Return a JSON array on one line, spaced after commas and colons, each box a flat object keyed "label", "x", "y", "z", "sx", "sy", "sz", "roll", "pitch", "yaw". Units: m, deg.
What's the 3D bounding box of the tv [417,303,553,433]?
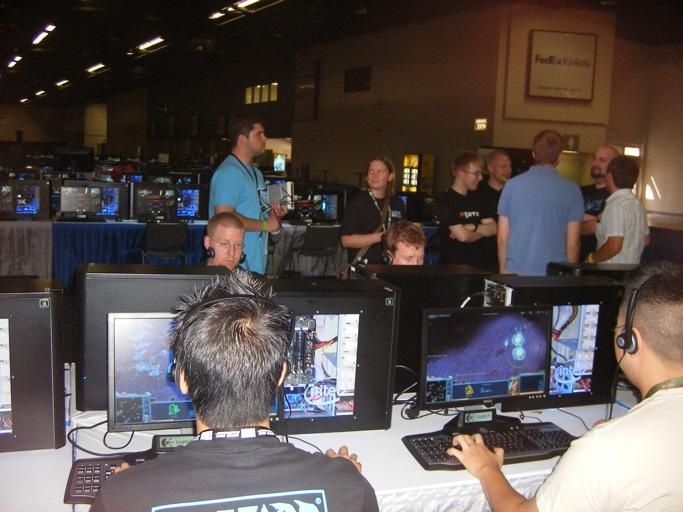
[{"label": "tv", "x": 0.525, "y": 0.410, "z": 2.281, "sx": 0.460, "sy": 0.307, "sz": 0.047, "roll": -2, "pitch": 7, "yaw": -16}]

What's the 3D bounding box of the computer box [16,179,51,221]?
[{"label": "computer box", "x": -3.207, "y": -0.568, "z": 6.175, "sx": 0.225, "sy": 0.384, "sz": 0.405, "roll": 10, "pitch": 10, "yaw": 35}]

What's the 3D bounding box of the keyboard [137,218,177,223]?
[{"label": "keyboard", "x": -1.956, "y": -0.371, "z": 6.480, "sx": 0.530, "sy": 0.075, "sz": 0.036, "roll": 0, "pitch": 8, "yaw": 18}]

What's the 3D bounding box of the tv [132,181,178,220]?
[{"label": "tv", "x": -2.057, "y": -0.550, "z": 6.821, "sx": 0.583, "sy": 0.487, "sz": 0.308, "roll": 0, "pitch": -7, "yaw": -15}]

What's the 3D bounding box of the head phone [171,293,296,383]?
[{"label": "head phone", "x": -0.264, "y": 0.193, "z": 1.511, "sx": 0.213, "sy": 0.247, "sz": 0.255, "roll": 0, "pitch": 5, "yaw": -16}]

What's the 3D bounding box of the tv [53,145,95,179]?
[{"label": "tv", "x": -3.590, "y": -1.263, "z": 8.213, "sx": 0.498, "sy": 0.340, "sz": 1.263, "roll": -4, "pitch": 14, "yaw": -23}]

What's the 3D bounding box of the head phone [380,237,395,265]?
[{"label": "head phone", "x": 0.216, "y": -0.024, "z": 2.941, "sx": 0.061, "sy": 0.173, "sz": 0.140, "roll": -1, "pitch": 7, "yaw": 14}]

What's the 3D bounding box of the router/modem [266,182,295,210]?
[{"label": "router/modem", "x": -0.394, "y": -0.371, "z": 3.838, "sx": 0.228, "sy": 0.224, "sz": 0.089, "roll": 1, "pitch": 9, "yaw": -2}]

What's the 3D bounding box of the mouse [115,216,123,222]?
[{"label": "mouse", "x": -2.384, "y": -0.388, "z": 6.543, "sx": 0.071, "sy": 0.066, "sz": 0.033, "roll": 1, "pitch": -2, "yaw": -8}]

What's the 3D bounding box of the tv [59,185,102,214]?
[{"label": "tv", "x": -2.719, "y": -0.591, "z": 6.374, "sx": 0.465, "sy": 0.324, "sz": 0.247, "roll": 2, "pitch": 21, "yaw": -16}]

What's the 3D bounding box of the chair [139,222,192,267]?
[{"label": "chair", "x": -1.758, "y": -0.126, "z": 6.016, "sx": 0.385, "sy": 0.416, "sz": 0.689, "roll": -2, "pitch": 3, "yaw": -22}]

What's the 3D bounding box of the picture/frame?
[{"label": "picture/frame", "x": 3.050, "y": -2.725, "z": 8.647, "sx": 0.979, "sy": 0.932, "sz": 0.099, "roll": 3, "pitch": 11, "yaw": -10}]

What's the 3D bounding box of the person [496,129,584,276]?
[{"label": "person", "x": 1.151, "y": -0.307, "z": 3.559, "sx": 0.480, "sy": 0.822, "sz": 0.307, "roll": 6, "pitch": 14, "yaw": 17}]

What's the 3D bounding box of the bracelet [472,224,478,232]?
[{"label": "bracelet", "x": 0.851, "y": -0.180, "z": 3.952, "sx": 0.012, "sy": 0.043, "sz": 0.045, "roll": 8, "pitch": 9, "yaw": 3}]

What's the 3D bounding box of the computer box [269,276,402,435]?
[{"label": "computer box", "x": -0.035, "y": 0.346, "z": 2.112, "sx": 0.543, "sy": 0.510, "sz": 0.301, "roll": -1, "pitch": 5, "yaw": -10}]

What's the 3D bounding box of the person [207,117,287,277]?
[{"label": "person", "x": -0.573, "y": -0.090, "z": 3.723, "sx": 0.470, "sy": 1.453, "sz": 0.558, "roll": 3, "pitch": 16, "yaw": -6}]

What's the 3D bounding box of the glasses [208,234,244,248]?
[{"label": "glasses", "x": -0.571, "y": -0.061, "z": 2.969, "sx": 0.177, "sy": 0.063, "sz": 0.070, "roll": -2, "pitch": 14, "yaw": -14}]

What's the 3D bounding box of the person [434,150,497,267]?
[{"label": "person", "x": 0.809, "y": -0.289, "z": 4.030, "sx": 0.369, "sy": 0.758, "sz": 0.396, "roll": 2, "pitch": 14, "yaw": 0}]

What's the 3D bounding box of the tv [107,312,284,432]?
[{"label": "tv", "x": -0.430, "y": 0.311, "z": 1.714, "sx": 0.449, "sy": 0.369, "sz": 0.034, "roll": -2, "pitch": 15, "yaw": -7}]
